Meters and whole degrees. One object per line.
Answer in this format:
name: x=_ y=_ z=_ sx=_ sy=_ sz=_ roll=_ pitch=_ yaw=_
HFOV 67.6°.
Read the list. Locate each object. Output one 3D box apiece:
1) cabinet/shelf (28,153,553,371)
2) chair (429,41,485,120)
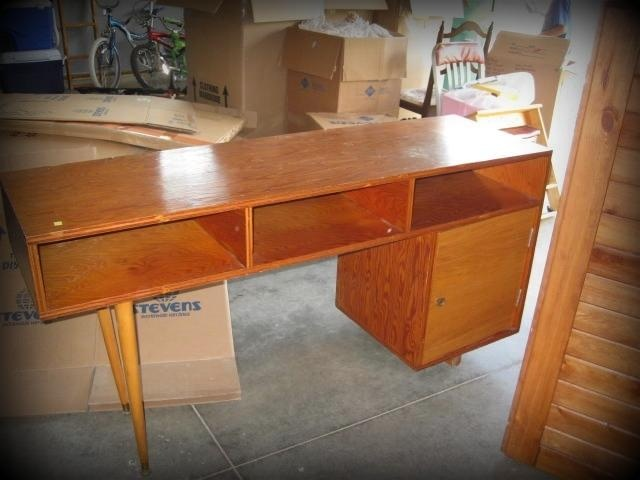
cabinet/shelf: x=0.046 y=0.162 z=2.304 sx=2.299 sy=1.090 sz=0.527 roll=-10 pitch=24 yaw=-26
chair: x=1.250 y=-1.517 z=4.481 sx=0.342 sy=0.628 sz=0.746 roll=13 pitch=24 yaw=28
